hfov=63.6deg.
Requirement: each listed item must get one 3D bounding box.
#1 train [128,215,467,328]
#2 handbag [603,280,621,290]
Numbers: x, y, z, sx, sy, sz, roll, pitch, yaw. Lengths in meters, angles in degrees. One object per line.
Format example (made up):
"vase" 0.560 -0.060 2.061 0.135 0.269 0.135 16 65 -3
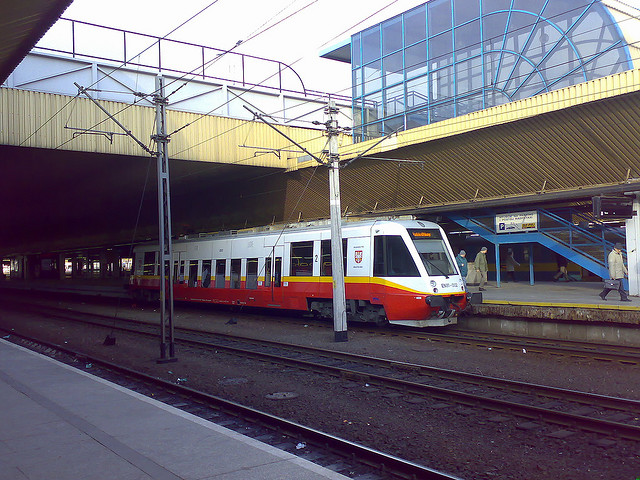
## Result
"train" -1.346 1.409 26.058 8.025 4.802 21.837 0 -5 -43
"handbag" 9.346 1.435 16.567 0.308 0.273 0.462 9 -8 -33
